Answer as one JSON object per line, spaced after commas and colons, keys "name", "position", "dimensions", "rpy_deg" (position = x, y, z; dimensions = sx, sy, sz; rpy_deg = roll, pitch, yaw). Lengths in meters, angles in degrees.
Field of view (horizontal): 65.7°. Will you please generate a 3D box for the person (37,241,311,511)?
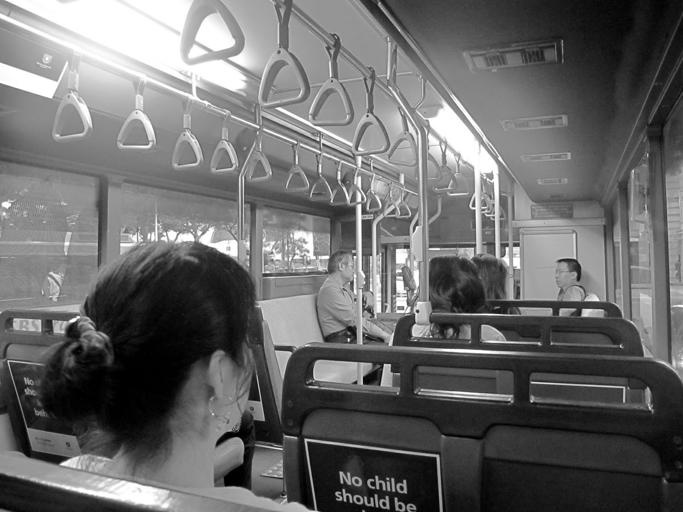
{"name": "person", "position": [-0.367, 0.186, 1.328], "dimensions": [0.676, 0.593, 0.533], "rpy_deg": [4, 10, 22]}
